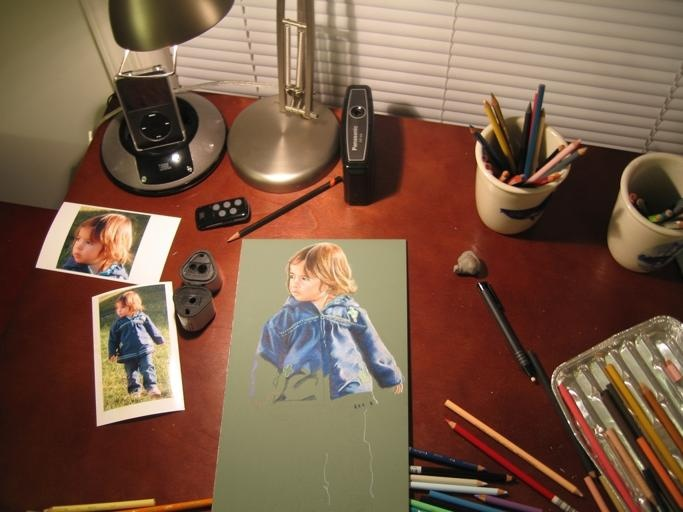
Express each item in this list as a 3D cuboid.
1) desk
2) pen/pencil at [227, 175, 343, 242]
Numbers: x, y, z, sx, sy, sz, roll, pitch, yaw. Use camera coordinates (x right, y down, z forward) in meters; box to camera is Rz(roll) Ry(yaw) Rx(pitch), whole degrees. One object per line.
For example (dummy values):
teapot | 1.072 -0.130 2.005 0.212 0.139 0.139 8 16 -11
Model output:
desk | 0.045 -0.028 0.775 0.883 0.235 0.677 6 66 7
pen/pencil | -0.105 -0.087 1.062 0.176 0.019 0.014 -41 37 -13
